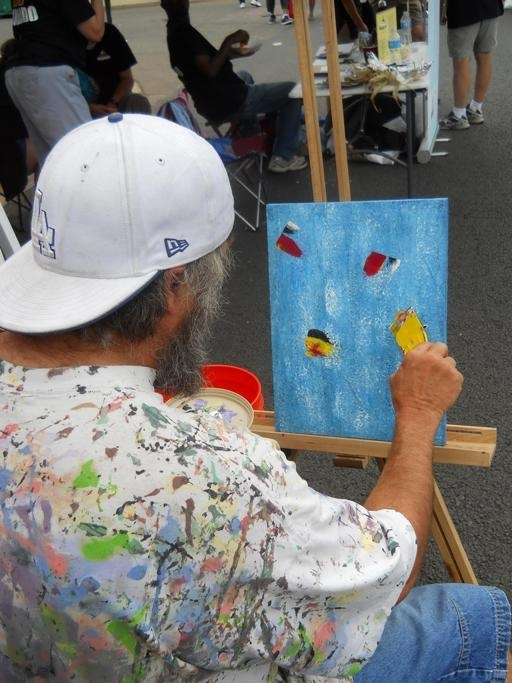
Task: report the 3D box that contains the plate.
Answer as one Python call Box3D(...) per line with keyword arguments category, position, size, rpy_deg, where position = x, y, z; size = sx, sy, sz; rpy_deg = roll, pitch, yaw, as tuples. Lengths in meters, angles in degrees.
Box3D(category="plate", position=(-0.084, 0.130, 1.198), size=(0.152, 0.046, 0.143), rpy_deg=(9, 18, 0))
